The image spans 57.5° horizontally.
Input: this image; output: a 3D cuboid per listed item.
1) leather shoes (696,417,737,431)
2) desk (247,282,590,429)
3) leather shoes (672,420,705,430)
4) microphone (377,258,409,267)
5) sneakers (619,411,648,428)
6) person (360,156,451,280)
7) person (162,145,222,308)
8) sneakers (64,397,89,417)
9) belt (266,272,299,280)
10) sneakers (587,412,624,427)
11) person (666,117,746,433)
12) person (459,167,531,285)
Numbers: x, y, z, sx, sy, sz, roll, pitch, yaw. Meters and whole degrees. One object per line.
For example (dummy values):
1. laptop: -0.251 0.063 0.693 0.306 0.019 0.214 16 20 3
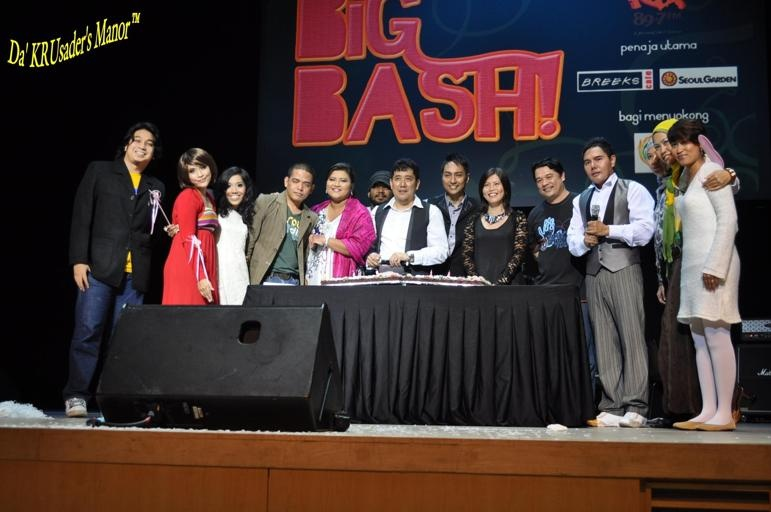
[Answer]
1. leather shoes: 2.264 1.129 4.723 0.259 0.108 0.098 0 -16 8
2. desk: 0.431 0.711 5.132 2.142 0.983 0.347 -2 9 25
3. leather shoes: 2.098 1.156 4.798 0.189 0.059 0.071 6 -22 -9
4. microphone: 0.059 0.037 5.796 0.235 0.099 0.227 3 -5 1
5. sneakers: 1.797 1.169 5.029 0.123 0.047 0.125 0 0 -11
6. person: 0.104 -0.250 6.137 0.797 1.244 0.654 1 -5 26
7. person: -1.546 -0.250 5.609 0.445 1.266 0.479 4 -5 -14
8. sneakers: -2.401 1.144 5.364 0.138 0.130 0.158 6 -6 -31
9. belt: -0.889 0.166 5.932 0.274 0.067 0.037 5 -5 -17
10. sneakers: 1.602 1.172 5.044 0.294 0.130 0.117 5 -22 -1
11. person: 2.237 0.116 4.902 0.463 2.149 0.340 0 -6 27
12. person: 0.944 -0.270 5.944 0.411 1.018 0.543 7 -7 -41
